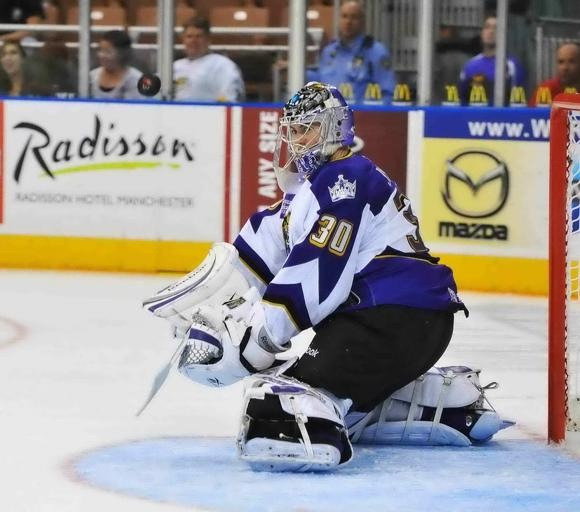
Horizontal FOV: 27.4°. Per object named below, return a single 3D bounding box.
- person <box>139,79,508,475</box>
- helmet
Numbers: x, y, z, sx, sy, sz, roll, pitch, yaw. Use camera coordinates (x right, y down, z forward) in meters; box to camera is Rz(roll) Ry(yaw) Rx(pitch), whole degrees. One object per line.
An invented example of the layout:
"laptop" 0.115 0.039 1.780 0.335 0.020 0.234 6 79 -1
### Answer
"person" 0.101 0.040 3.990 1.043 1.211 0.682 -5 11 -32
"helmet" 0.072 -0.414 4.022 0.369 0.366 0.275 -7 4 -34
